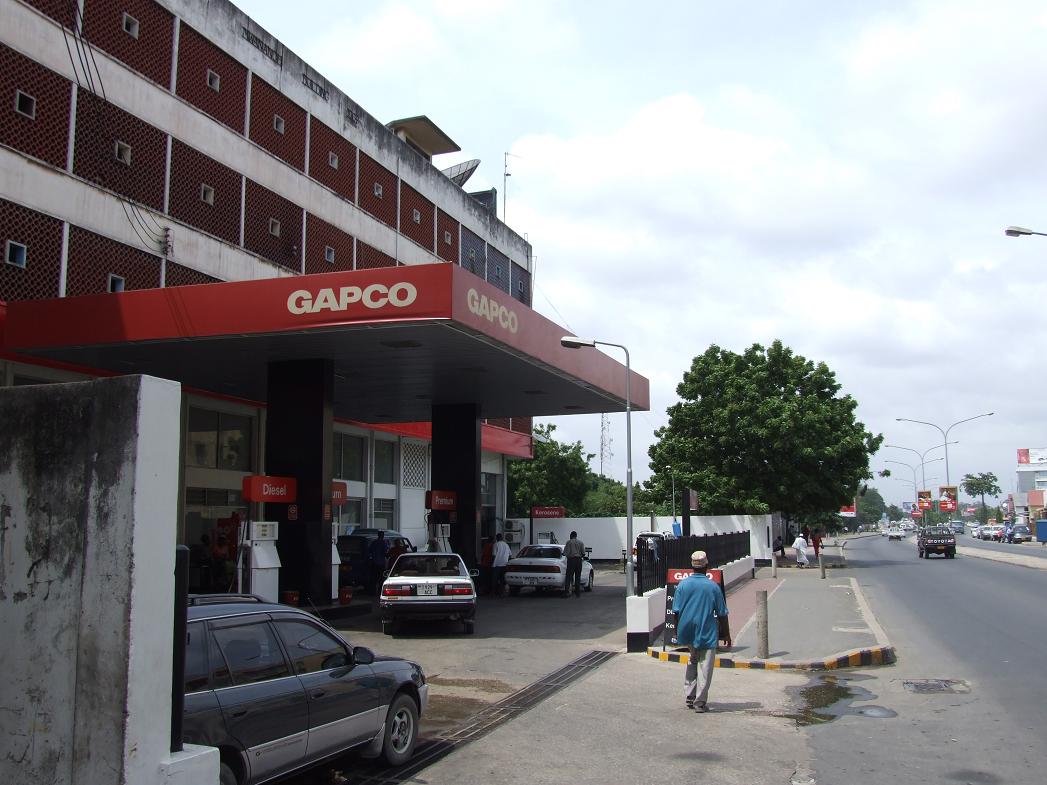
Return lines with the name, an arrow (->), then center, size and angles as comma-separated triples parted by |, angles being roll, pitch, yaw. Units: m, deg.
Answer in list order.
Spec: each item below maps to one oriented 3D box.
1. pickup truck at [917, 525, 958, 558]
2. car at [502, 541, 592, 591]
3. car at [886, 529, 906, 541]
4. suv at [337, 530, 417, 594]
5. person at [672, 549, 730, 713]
pickup truck -> 23.746, 8.644, 53.646 | 1.326, 1.256, 2.608 | -2, -12, 10
car -> 0.780, 6.022, 31.342 | 1.329, 1.059, 2.969 | -2, -6, 18
car -> 47.973, 18.432, 119.681 | 1.661, 1.585, 3.110 | -4, -20, 14
suv -> -4.866, 5.597, 30.786 | 1.628, 1.533, 2.831 | -2, -2, 22
person -> 2.471, 3.353, 13.110 | 0.739, 2.094, 1.118 | 2, -3, 14
